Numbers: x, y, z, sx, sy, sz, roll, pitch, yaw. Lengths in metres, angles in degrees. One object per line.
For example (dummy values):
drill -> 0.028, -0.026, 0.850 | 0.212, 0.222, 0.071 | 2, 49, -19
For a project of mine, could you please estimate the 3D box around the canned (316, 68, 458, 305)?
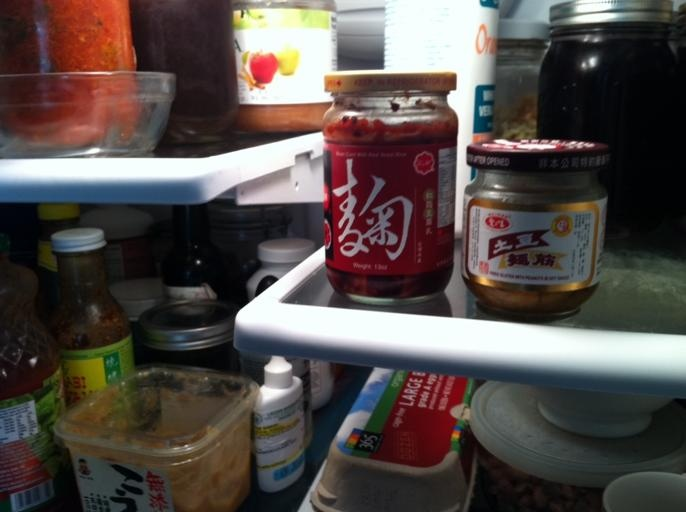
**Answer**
canned -> 0.048, -0.059, 0.572 | 0.136, 0.210, 0.089 | 2, 22, 8

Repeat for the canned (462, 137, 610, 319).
canned -> 0.206, -0.053, 0.630 | 0.171, 0.186, 0.174 | 15, 24, 43
